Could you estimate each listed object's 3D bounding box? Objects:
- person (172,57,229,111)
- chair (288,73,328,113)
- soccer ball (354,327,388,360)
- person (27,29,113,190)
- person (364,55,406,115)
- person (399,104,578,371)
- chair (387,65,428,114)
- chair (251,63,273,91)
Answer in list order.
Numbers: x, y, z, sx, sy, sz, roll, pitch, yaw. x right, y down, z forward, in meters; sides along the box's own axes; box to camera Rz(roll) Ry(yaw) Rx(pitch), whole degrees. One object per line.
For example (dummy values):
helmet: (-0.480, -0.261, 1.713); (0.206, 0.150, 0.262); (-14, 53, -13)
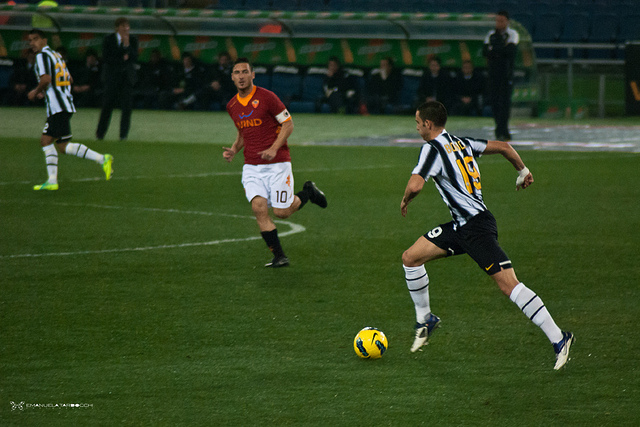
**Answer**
person: (-3.567, -3.782, 30.623); (1.792, 1.507, 0.721); (1, 9, 28)
chair: (-0.492, -3.400, 30.454); (1.016, 1.143, 1.103); (5, 4, 16)
soccer ball: (0.496, 1.351, 10.800); (0.330, 0.319, 0.310); (-5, -9, -1)
person: (-4.042, -1.601, 16.334); (1.060, 2.503, 0.572); (-5, 8, -14)
person: (1.813, -3.494, 29.254); (1.134, 1.567, 0.739); (-3, 7, 4)
person: (1.583, 0.141, 10.856); (1.473, 2.545, 0.755); (-3, 7, 3)
chair: (2.453, -3.493, 29.688); (0.757, 1.359, 0.958); (2, 9, 34)
chair: (-1.727, -4.082, 31.299); (0.633, 0.781, 0.391); (-2, 8, 12)
